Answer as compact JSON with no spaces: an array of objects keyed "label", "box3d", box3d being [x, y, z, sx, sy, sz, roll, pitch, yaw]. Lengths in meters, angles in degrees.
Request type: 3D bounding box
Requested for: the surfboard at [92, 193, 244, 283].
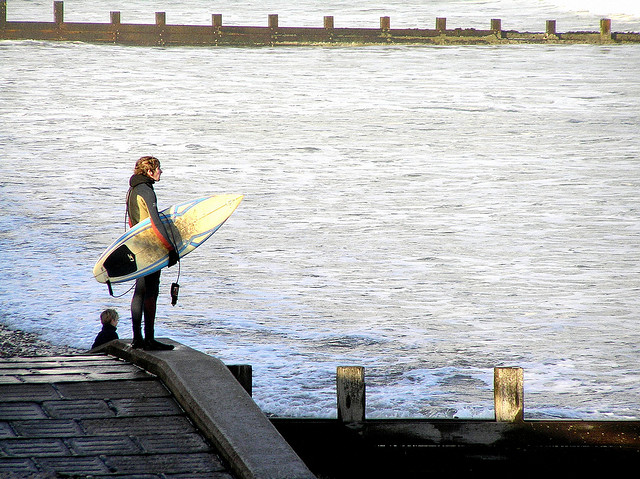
[{"label":"surfboard","box3d":[-4.831,-0.176,61.157,6.843,1.686,0.606,-24,4,-26]}]
